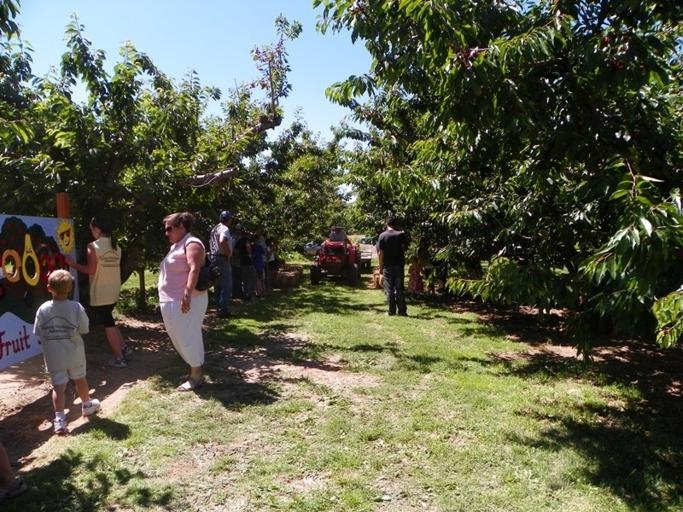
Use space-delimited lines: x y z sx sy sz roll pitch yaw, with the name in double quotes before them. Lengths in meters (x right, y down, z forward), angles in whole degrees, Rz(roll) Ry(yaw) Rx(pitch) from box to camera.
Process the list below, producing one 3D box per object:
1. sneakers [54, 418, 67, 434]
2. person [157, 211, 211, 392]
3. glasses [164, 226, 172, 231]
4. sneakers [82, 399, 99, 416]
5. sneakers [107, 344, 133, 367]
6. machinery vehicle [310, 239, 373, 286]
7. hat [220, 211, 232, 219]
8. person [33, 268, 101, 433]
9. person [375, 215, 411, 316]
"sneakers" -2.944 1.755 5.321 0.113 0.168 0.210 -5 13 -28
"person" -1.898 0.563 6.165 0.561 2.140 0.465 7 12 28
"glasses" -2.085 -0.322 6.132 0.073 0.066 0.085 1 -6 11
"sneakers" -2.751 1.642 5.630 0.110 0.143 0.215 16 6 -3
"sneakers" -3.125 1.436 7.189 0.416 0.209 0.172 -11 -5 40
"machinery vehicle" -0.136 0.232 17.196 1.525 1.533 2.216 2 11 4
"hat" -2.269 -0.789 9.932 0.215 0.170 0.223 0 11 -7
"person" -2.973 1.001 5.504 0.585 1.690 0.780 -6 13 -33
"person" 1.135 0.205 11.074 0.634 2.176 0.585 -3 8 2
